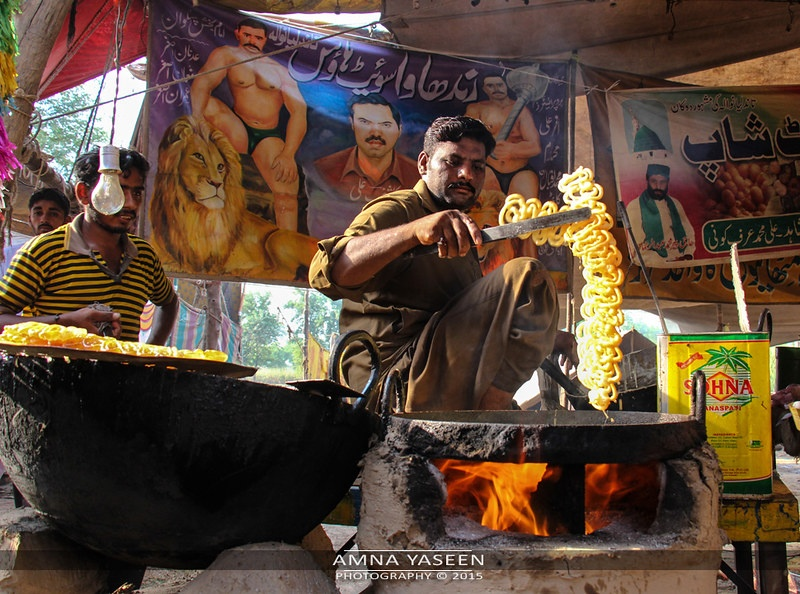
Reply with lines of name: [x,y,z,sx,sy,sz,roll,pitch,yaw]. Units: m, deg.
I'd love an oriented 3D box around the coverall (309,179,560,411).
coverall: [0.351,0.004,5.683,0.947,1.173,1.280,8,0,-22]

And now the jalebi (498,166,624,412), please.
jalebi: [0.890,-0.062,5.196,0.564,1.260,0.542,0,4,-37]
